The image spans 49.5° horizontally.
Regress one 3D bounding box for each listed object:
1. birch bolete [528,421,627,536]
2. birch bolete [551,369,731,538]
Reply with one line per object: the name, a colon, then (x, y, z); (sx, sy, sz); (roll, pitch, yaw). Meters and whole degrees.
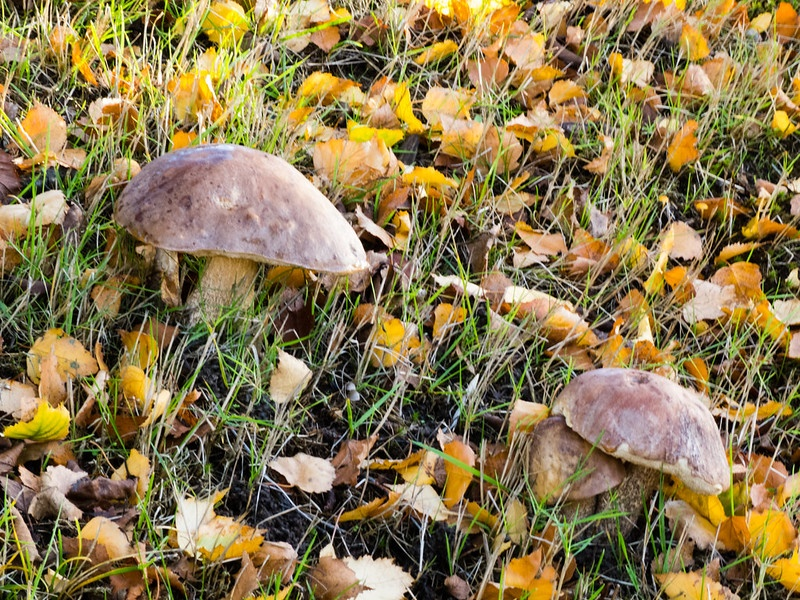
birch bolete: (0.605, 0.608, 3.223); (0.309, 0.301, 0.346); (-15, 35, -34)
birch bolete: (0.894, 0.453, 3.140); (0.578, 0.515, 0.571); (32, 17, 25)
